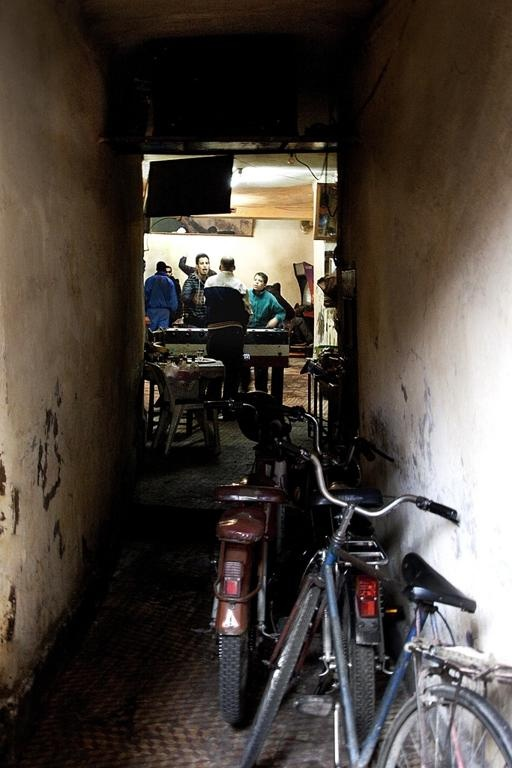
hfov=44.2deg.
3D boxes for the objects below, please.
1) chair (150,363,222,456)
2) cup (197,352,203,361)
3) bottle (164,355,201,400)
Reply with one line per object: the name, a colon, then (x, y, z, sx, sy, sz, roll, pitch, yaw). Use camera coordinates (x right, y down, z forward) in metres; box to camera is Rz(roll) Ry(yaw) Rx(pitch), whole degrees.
chair: (-0.802, 0.152, 7.308, 0.742, 1.079, 0.716, 7, 18, 5)
cup: (-0.712, -0.354, 8.017, 0.117, 0.144, 0.240, 1, 2, -2)
bottle: (-0.834, -0.041, 7.027, 0.387, 0.345, 0.299, 2, 1, -10)
